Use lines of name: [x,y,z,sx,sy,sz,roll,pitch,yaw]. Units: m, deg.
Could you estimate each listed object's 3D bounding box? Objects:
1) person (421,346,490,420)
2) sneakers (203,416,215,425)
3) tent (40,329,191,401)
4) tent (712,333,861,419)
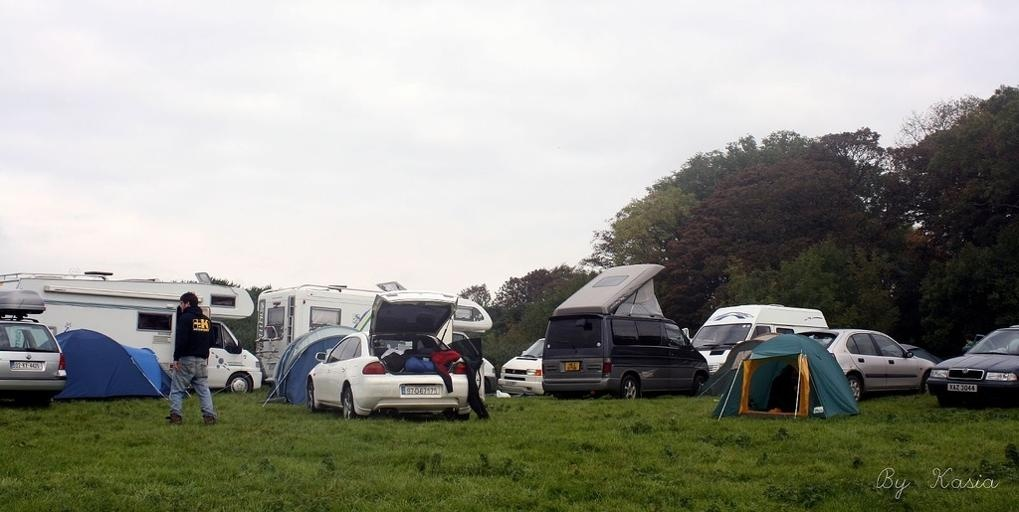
person: [-1.382,3.608,25.862,1.557,1.007,2.300,-2,2,7]
sneakers: [-8.570,4.714,24.622,0.305,0.206,0.219,1,-4,-17]
tent: [-13.151,3.665,28.673,3.140,1.090,2.896,0,1,-30]
tent: [8.780,3.865,26.336,3.637,1.519,3.093,-7,-12,36]
